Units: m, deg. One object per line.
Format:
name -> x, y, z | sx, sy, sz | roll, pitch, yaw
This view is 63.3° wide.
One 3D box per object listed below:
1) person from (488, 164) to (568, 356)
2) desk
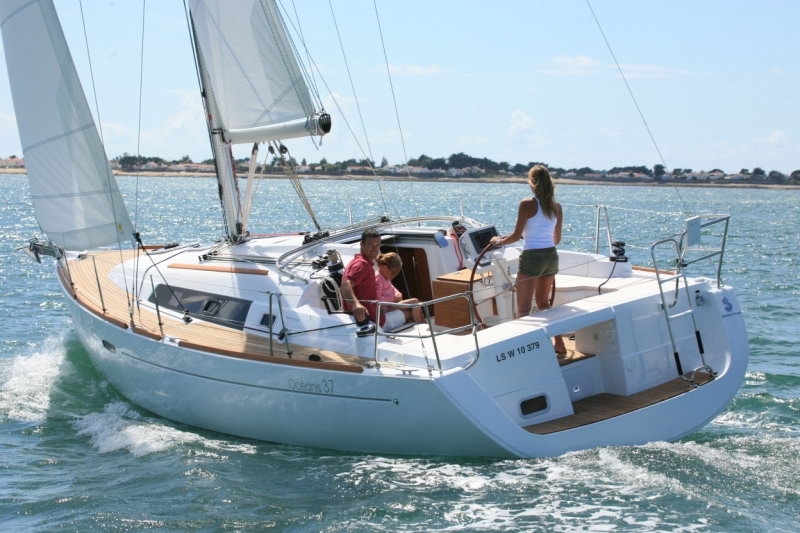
person -> 1.324, -0.252, 6.467 | 0.867, 1.491, 0.319 | -9, 8, -26
desk -> 0.779, 0.365, 7.136 | 0.597, 0.436, 0.875 | -3, 4, 23
